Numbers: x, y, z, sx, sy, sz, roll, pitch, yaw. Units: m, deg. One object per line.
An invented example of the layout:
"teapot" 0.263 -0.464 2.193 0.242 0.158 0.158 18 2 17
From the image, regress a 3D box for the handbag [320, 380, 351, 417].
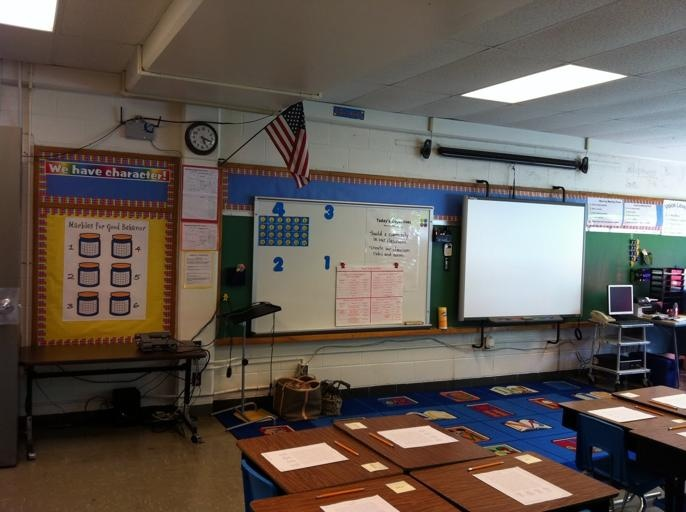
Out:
"handbag" -0.110 1.673 6.586 0.319 0.398 0.416 2 -6 2

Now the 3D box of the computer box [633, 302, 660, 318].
"computer box" 4.569 0.830 8.407 0.322 0.186 0.221 -1 8 -10

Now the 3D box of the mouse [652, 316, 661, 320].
"mouse" 4.568 0.913 8.110 0.064 0.020 0.069 7 12 38

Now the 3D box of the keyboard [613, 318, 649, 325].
"keyboard" 4.093 0.953 7.908 0.581 0.050 0.205 0 8 -20

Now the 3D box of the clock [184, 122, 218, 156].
"clock" -1.567 -1.285 6.131 0.379 0.358 0.071 -7 0 -27

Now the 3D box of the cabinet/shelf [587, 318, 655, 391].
"cabinet/shelf" 4.074 1.374 8.155 0.808 0.998 1.608 7 9 26

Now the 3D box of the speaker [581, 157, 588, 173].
"speaker" 3.610 -1.345 8.308 0.067 0.196 0.146 8 5 35

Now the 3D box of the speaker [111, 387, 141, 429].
"speaker" -2.289 1.631 5.897 0.375 0.507 0.259 1 -6 -23

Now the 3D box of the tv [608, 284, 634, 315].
"tv" 4.088 0.663 8.206 0.460 0.428 0.044 1 -1 -19

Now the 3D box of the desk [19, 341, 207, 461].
"desk" -2.386 1.542 5.560 1.840 0.845 0.964 0 1 -33

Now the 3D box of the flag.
"flag" -0.565 -1.195 5.710 0.483 0.725 0.125 8 9 31

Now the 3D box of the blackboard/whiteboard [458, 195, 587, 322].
"blackboard/whiteboard" 2.408 0.042 7.705 1.878 1.316 0.179 3 -5 -23

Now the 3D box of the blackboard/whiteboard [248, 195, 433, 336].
"blackboard/whiteboard" -0.114 0.119 6.796 1.939 1.295 0.150 0 3 -19
